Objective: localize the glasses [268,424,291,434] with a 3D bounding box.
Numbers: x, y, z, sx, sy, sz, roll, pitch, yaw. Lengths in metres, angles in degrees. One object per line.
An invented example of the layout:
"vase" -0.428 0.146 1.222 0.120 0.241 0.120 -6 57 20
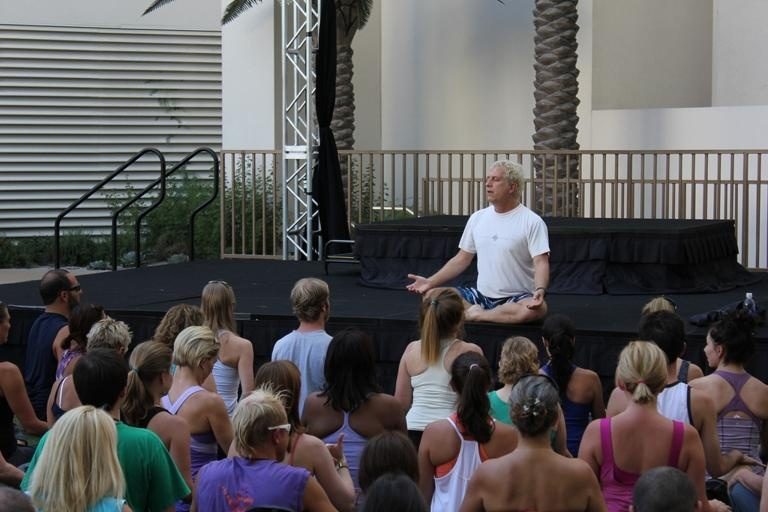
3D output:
"glasses" -0.816 1.403 10.011 0.094 0.066 0.221 0 2 35
